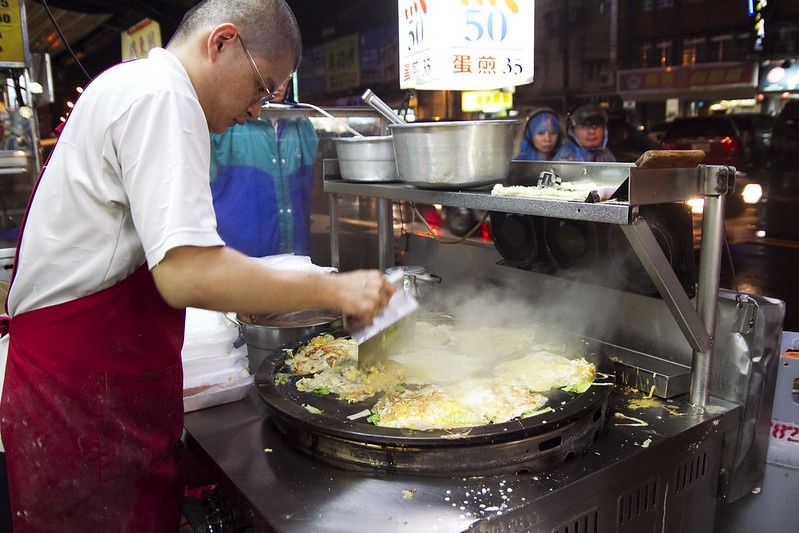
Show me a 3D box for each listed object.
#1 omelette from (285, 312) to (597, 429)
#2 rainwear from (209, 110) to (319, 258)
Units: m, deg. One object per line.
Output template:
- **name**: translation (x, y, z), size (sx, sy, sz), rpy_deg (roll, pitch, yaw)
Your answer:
- **omelette**: translation (0.219, 0.495, 2.498), size (1.285, 0.360, 0.545), rpy_deg (0, 9, -15)
- **rainwear**: translation (-1.120, -0.658, 4.644), size (0.766, 1.196, 0.695), rpy_deg (-8, 23, -34)
